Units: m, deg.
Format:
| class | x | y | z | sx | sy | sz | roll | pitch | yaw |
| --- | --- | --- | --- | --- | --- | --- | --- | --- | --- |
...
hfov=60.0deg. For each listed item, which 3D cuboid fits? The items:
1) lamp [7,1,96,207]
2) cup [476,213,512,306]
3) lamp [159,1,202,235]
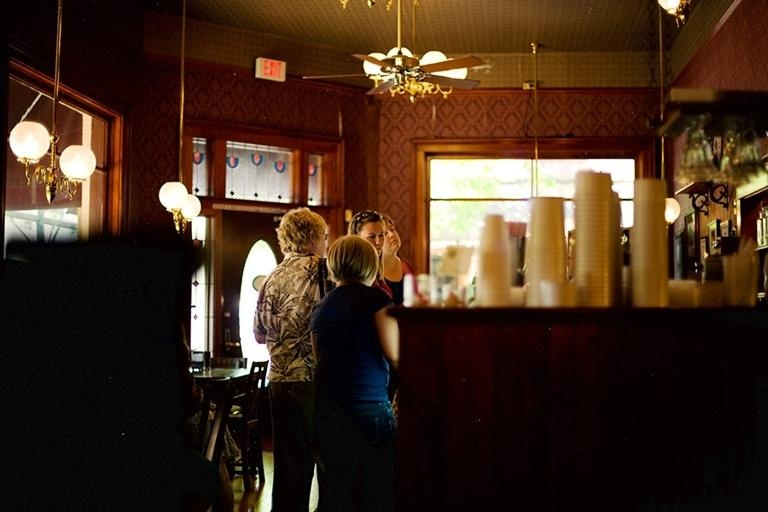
| class | x | y | z | sx | sy | sz | roll | pitch | yaw |
| --- | --- | --- | --- | --- | --- | --- | --- | --- | --- |
| lamp | -2.841 | -1.348 | 5.695 | 0.593 | 1.862 | 1.807 | 1 | -2 | -27 |
| cup | 0.369 | 0.013 | 2.191 | 0.112 | 0.295 | 0.061 | -1 | -2 | 8 |
| lamp | -2.113 | -1.530 | 6.871 | 0.435 | 2.588 | 1.646 | 0 | -2 | -17 |
